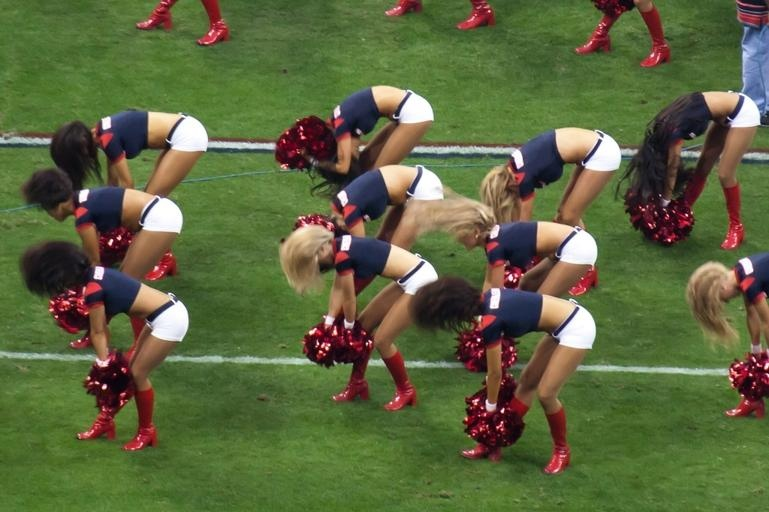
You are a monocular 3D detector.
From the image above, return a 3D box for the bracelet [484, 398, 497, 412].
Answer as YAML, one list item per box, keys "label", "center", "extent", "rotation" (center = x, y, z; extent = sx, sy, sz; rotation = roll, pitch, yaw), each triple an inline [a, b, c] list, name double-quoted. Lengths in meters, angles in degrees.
- label: "bracelet"
  center: [0.918, 1.275, 10.393]
  extent: [0.105, 0.081, 0.084]
  rotation: [3, 13, 26]

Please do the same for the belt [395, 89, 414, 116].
- label: "belt"
  center: [0.199, -1.572, 12.410]
  extent: [0.065, 0.225, 0.212]
  rotation: [28, 0, -7]

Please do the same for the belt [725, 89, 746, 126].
- label: "belt"
  center: [3.603, -1.531, 12.398]
  extent: [0.123, 0.283, 0.277]
  rotation: [5, 4, 3]

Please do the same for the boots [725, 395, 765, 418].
- label: "boots"
  center: [3.248, 1.341, 10.861]
  extent: [0.350, 0.169, 0.165]
  rotation: [4, 5, 7]

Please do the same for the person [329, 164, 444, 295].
- label: "person"
  center: [0.203, -0.351, 11.676]
  extent: [1.367, 1.369, 1.053]
  rotation: [-2, 4, -16]

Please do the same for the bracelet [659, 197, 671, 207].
- label: "bracelet"
  center: [2.951, -0.560, 12.681]
  extent: [0.095, 0.071, 0.071]
  rotation: [-6, 19, -23]

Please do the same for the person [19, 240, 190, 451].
- label: "person"
  center: [-2.402, 0.719, 10.310]
  extent: [1.281, 1.585, 0.762]
  rotation: [11, 26, 8]

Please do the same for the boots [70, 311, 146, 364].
- label: "boots"
  center: [-2.497, 0.739, 10.903]
  extent: [0.706, 0.477, 0.228]
  rotation: [3, 54, 3]

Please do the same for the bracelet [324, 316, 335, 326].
- label: "bracelet"
  center: [-0.489, 0.589, 11.109]
  extent: [0.117, 0.101, 0.066]
  rotation: [7, 2, 1]

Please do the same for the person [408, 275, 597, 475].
- label: "person"
  center: [1.014, 0.976, 10.336]
  extent: [1.473, 1.457, 0.722]
  rotation: [11, 26, 8]

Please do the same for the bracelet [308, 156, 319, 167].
- label: "bracelet"
  center: [-0.696, -0.951, 12.116]
  extent: [0.084, 0.061, 0.080]
  rotation: [-31, 44, -9]

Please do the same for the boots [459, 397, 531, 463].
- label: "boots"
  center: [0.973, 1.469, 10.514]
  extent: [0.560, 0.605, 0.514]
  rotation: [13, 1, -11]

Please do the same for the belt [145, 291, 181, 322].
- label: "belt"
  center: [-1.889, 0.444, 10.340]
  extent: [0.248, 0.069, 0.230]
  rotation: [-29, 11, 18]

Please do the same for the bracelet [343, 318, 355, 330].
- label: "bracelet"
  center: [-0.312, 0.615, 11.003]
  extent: [0.079, 0.068, 0.081]
  rotation: [-3, 14, -30]

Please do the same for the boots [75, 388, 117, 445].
- label: "boots"
  center: [-2.473, 1.413, 10.383]
  extent: [0.372, 0.317, 0.167]
  rotation: [5, -5, -39]

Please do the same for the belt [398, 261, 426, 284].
- label: "belt"
  center: [0.250, 0.147, 10.838]
  extent: [0.204, 0.048, 0.200]
  rotation: [-35, -2, 24]

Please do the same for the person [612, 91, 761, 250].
- label: "person"
  center: [3.197, -0.917, 12.615]
  extent: [1.297, 1.628, 0.558]
  rotation: [11, 26, 8]

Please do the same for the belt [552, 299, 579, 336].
- label: "belt"
  center: [1.545, 0.534, 10.242]
  extent: [0.074, 0.273, 0.277]
  rotation: [35, 18, -5]
